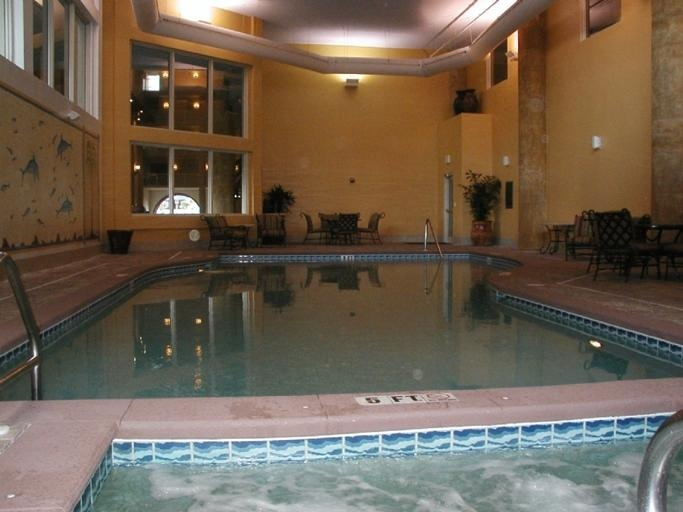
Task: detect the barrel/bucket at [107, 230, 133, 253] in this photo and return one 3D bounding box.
[{"bbox_3d":[-4.951,-0.338,11.585,0.505,0.498,0.535,2,5,0],"label":"barrel/bucket"}]

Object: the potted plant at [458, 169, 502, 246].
[{"bbox_3d":[3.944,-1.363,14.503,0.740,2.043,0.965,-5,12,-25],"label":"potted plant"}]

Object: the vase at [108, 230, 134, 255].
[{"bbox_3d":[-4.949,-0.299,11.614,0.519,0.544,0.553,0,5,-14],"label":"vase"}]

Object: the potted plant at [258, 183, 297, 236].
[{"bbox_3d":[-1.924,-1.620,15.385,0.756,1.000,1.275,4,12,20],"label":"potted plant"}]

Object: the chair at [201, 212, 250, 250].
[{"bbox_3d":[-2.931,-0.638,13.263,1.101,0.904,1.338,1,11,2],"label":"chair"}]

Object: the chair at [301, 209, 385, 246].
[{"bbox_3d":[0.087,-0.843,15.813,2.529,1.005,1.584,0,11,-4],"label":"chair"}]
